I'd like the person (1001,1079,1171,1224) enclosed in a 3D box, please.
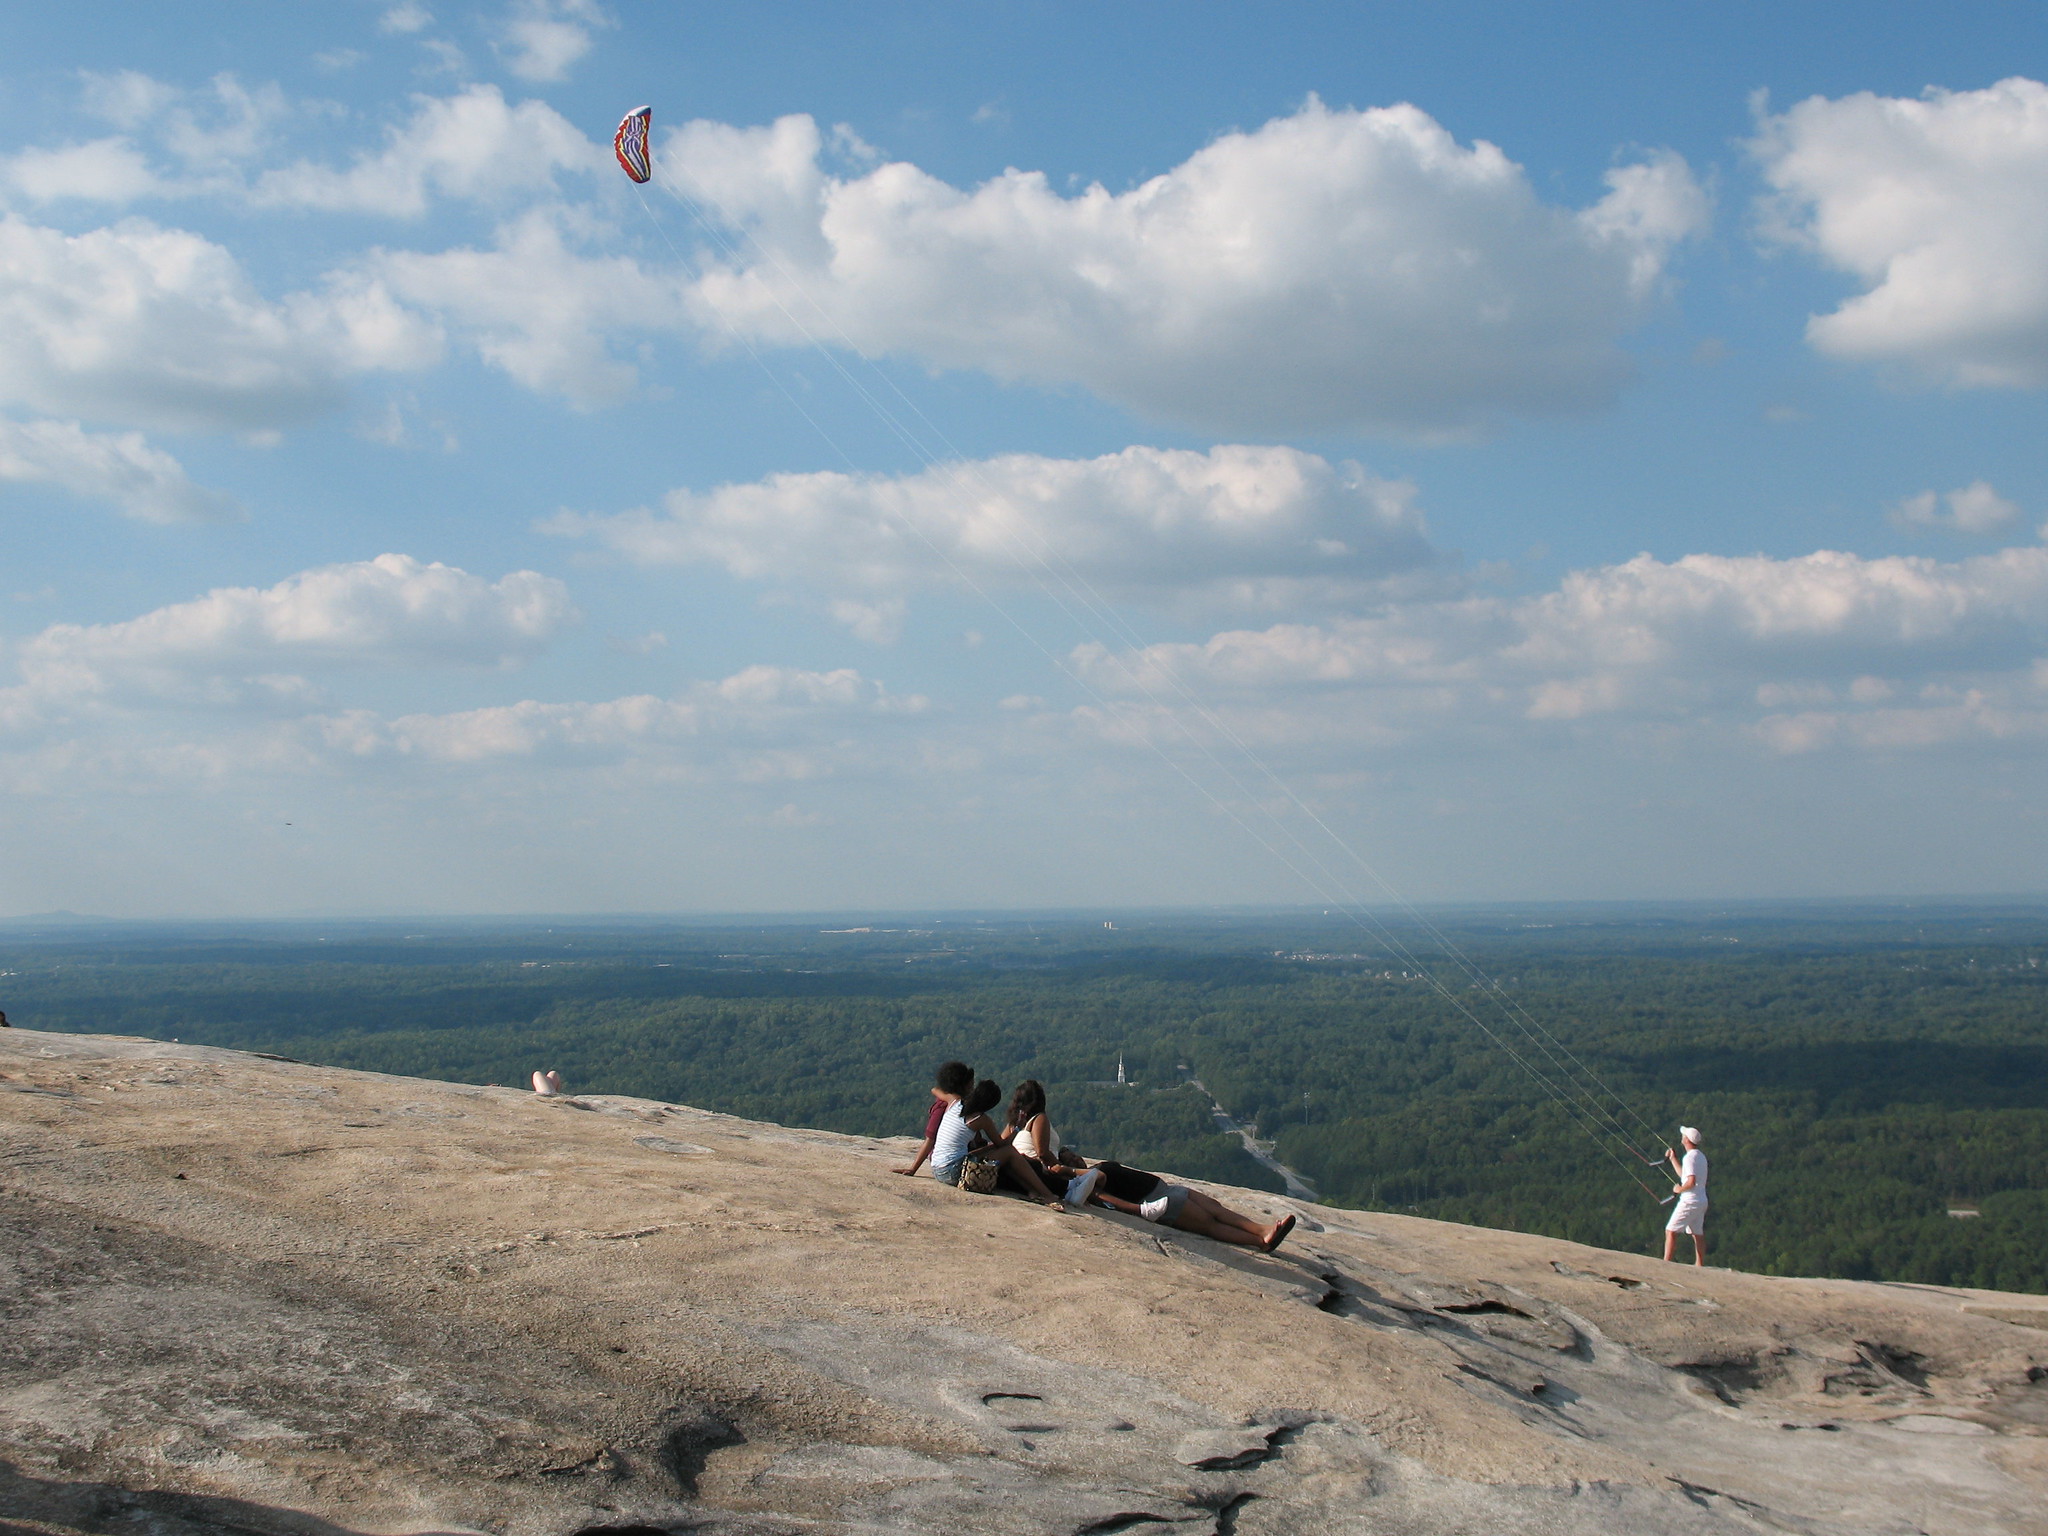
[{"bbox_3d":[0.808,3.937,18.221,2.326,1.304,0.832,15,-27,-21],"label":"person"}]

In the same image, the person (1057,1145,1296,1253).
[{"bbox_3d":[1.315,4.057,17.826,2.548,0.604,0.875,15,-18,27],"label":"person"}]

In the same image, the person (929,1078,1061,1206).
[{"bbox_3d":[-0.389,3.620,18.062,0.927,1.139,1.695,3,-4,-15],"label":"person"}]

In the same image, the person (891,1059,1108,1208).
[{"bbox_3d":[-0.349,3.630,17.937,1.811,1.119,0.621,14,-12,-20],"label":"person"}]
